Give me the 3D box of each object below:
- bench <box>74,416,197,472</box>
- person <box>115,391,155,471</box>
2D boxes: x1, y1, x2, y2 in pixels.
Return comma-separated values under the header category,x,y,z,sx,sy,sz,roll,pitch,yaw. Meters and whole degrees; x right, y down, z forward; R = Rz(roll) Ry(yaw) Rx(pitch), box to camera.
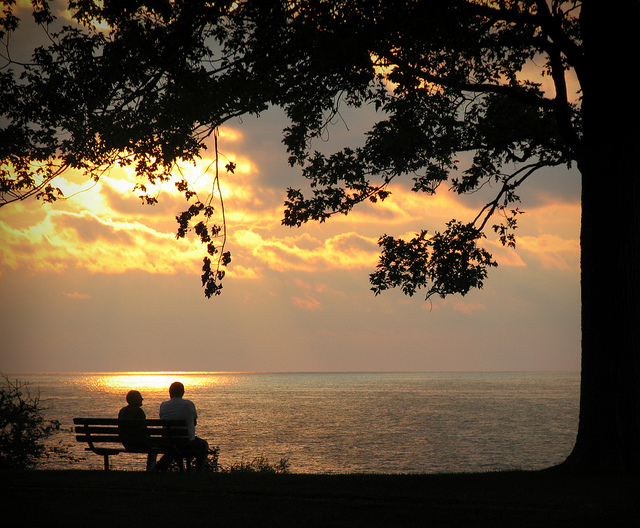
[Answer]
category,x,y,z,sx,sy,sz,roll,pitch,yaw
bench,-4.824,4.782,41.873,3.150,1.412,1.188,-1,-2,18
person,-4.749,4.345,41.991,1.105,2.060,0.869,-2,-5,-41
